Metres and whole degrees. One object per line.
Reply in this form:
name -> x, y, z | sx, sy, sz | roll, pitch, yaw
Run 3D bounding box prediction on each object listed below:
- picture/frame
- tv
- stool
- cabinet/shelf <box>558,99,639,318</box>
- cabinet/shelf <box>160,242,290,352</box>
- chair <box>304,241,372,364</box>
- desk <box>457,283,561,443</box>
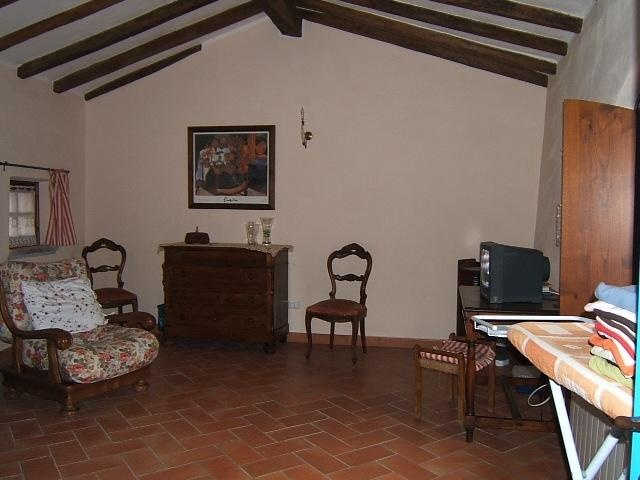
picture/frame -> -1.195, -1.046, 7.018 | 1.234, 1.105, 0.045 | 1, 6, 11
tv -> 1.783, 0.298, 4.734 | 0.578, 0.506, 0.550 | -1, 0, 3
stool -> 1.250, 1.283, 4.698 | 0.700, 0.684, 0.816 | -1, -2, 39
cabinet/shelf -> 1.942, -0.228, 3.530 | 0.470, 1.522, 0.241 | 2, 9, 10
cabinet/shelf -> -1.300, 0.728, 6.708 | 1.569, 1.309, 0.622 | 1, 4, 7
chair -> 0.238, 0.782, 6.387 | 0.729, 1.396, 1.069 | 2, 9, 12
desk -> 1.592, 1.152, 4.780 | 1.098, 1.234, 1.714 | 1, 2, 13
